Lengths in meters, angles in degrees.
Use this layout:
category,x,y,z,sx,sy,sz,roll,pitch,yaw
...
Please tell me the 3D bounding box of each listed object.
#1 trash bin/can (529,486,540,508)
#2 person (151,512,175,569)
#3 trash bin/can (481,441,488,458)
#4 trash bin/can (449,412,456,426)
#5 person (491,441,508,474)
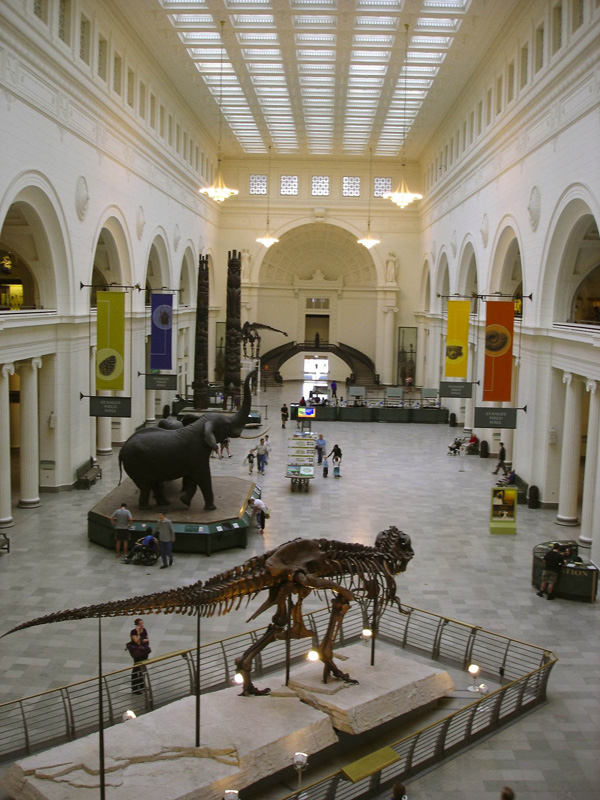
category,x,y,z,sx,sy,sz,roll,pitch,yaw
trash bin/can,6.004,2.495,14.715,0.310,0.561,0.135,2,5,2
person,-2.420,2.441,10.277,0.318,1.037,0.802,0,6,-15
trash bin/can,6.616,1.764,20.547,0.331,0.566,0.411,2,5,7
trash bin/can,7.051,0.923,26.396,0.324,0.630,0.513,2,6,9
person,6.299,1.827,18.104,0.389,1.025,1.588,3,6,19
